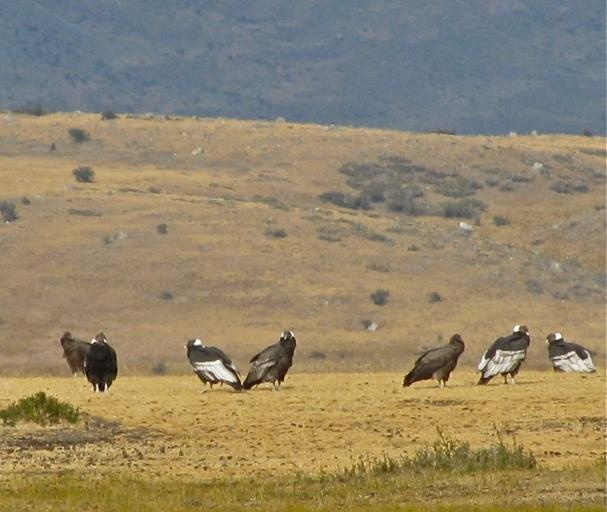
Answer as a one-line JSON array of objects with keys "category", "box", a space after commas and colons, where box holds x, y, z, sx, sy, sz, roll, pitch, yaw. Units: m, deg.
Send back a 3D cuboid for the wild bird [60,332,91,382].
[{"category": "wild bird", "box": [-10.000, 4.156, 79.523, 1.137, 2.620, 1.057, -2, 1, 26]}]
